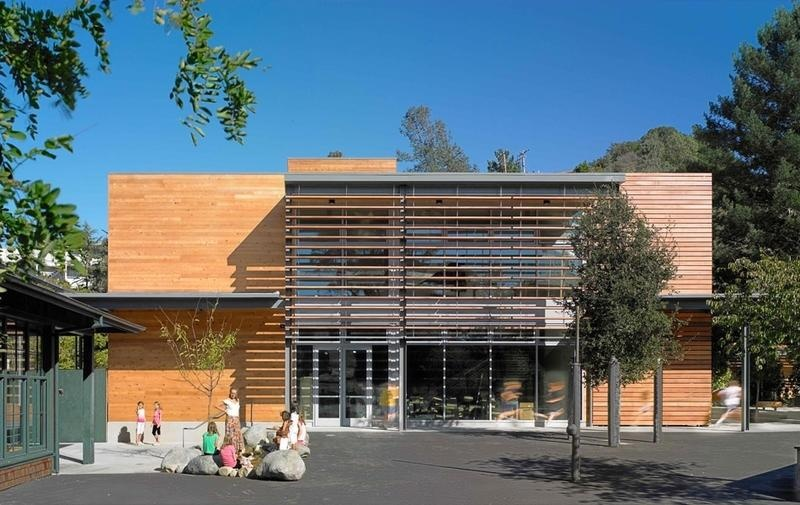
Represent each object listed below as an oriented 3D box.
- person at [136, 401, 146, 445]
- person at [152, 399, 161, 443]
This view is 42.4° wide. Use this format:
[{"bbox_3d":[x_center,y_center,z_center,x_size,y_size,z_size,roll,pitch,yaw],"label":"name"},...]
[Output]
[{"bbox_3d":[-10.745,6.964,42.345,0.355,1.851,1.420,3,-13,-14],"label":"person"},{"bbox_3d":[-10.055,6.956,42.321,0.381,1.697,1.309,3,-13,-13],"label":"person"}]
